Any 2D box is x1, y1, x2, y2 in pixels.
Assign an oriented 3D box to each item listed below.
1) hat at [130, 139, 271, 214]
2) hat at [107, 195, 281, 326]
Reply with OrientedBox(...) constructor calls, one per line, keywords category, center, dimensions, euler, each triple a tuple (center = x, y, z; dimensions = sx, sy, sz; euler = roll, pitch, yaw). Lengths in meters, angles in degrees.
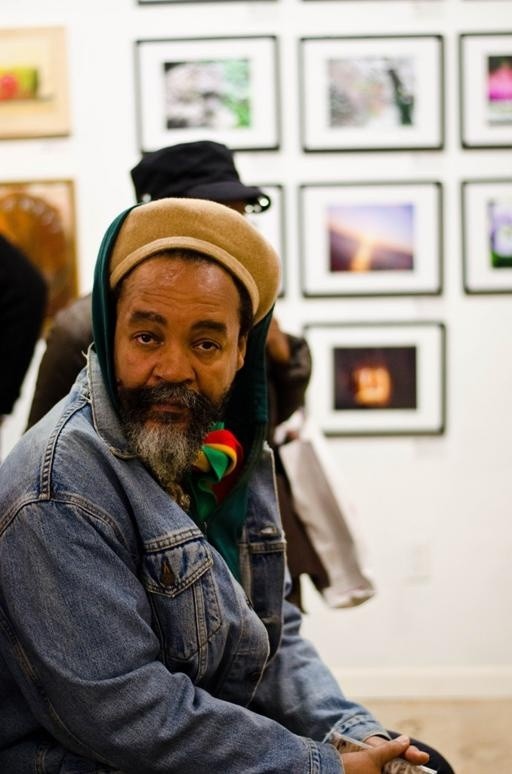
OrientedBox(category="hat", center=(-0.124, -0.490, 2.086), dimensions=(0.323, 0.163, 0.254), euler=(-3, -2, 28))
OrientedBox(category="hat", center=(-0.068, -0.199, 1.191), dimensions=(0.164, 0.189, 0.077), euler=(15, 45, -3))
